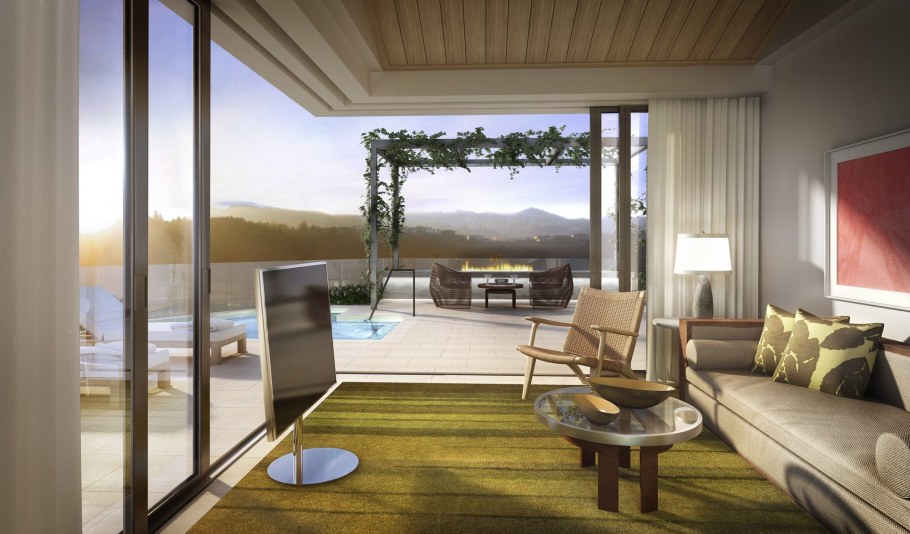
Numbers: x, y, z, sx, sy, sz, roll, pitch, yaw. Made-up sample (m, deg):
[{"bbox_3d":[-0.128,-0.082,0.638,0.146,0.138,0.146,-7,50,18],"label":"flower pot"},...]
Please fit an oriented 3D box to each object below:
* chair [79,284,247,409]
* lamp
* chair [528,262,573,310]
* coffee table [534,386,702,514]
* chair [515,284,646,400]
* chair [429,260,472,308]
[{"bbox_3d":[-2.062,0.536,4.083,0.812,0.446,0.559,0,1,-8],"label":"chair"},{"bbox_3d":[2.528,0.106,5.890,0.696,0.825,0.661,2,-1,-25],"label":"lamp"},{"bbox_3d":[1.836,0.434,11.445,0.954,0.932,0.704,1,-1,10],"label":"chair"},{"bbox_3d":[1.217,1.241,4.257,1.013,0.438,0.964,-2,5,-5],"label":"coffee table"},{"bbox_3d":[1.237,0.747,5.599,0.909,0.937,1.125,2,9,43],"label":"chair"},{"bbox_3d":[-0.087,0.359,11.329,0.851,0.801,0.857,0,-1,0],"label":"chair"}]
